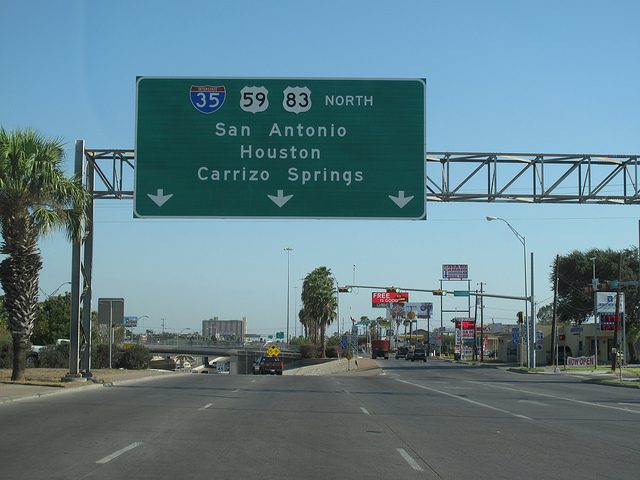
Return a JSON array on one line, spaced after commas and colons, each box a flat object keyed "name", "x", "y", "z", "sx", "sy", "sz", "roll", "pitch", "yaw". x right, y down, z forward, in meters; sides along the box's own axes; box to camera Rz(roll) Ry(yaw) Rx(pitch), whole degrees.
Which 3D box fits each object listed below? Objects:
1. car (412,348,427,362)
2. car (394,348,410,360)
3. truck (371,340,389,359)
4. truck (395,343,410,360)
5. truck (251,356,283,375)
[{"name": "car", "x": 10.710, "y": 12.382, "z": 105.647, "sx": 1.315, "sy": 1.336, "sz": 2.576, "roll": 1, "pitch": -1, "yaw": 1}, {"name": "car", "x": 10.376, "y": 14.091, "z": 122.243, "sx": 1.206, "sy": 1.125, "sz": 2.026, "roll": 2, "pitch": 0, "yaw": 3}, {"name": "truck", "x": 7.616, "y": 13.715, "z": 123.497, "sx": 1.405, "sy": 1.547, "sz": 2.667, "roll": 0, "pitch": -8, "yaw": -2}, {"name": "truck", "x": 10.383, "y": 14.392, "z": 123.260, "sx": 1.688, "sy": 1.782, "sz": 3.001, "roll": 2, "pitch": 4, "yaw": 6}, {"name": "truck", "x": -3.621, "y": 8.703, "z": 68.386, "sx": 1.010, "sy": 0.872, "sz": 2.217, "roll": 1, "pitch": -2, "yaw": -14}]
